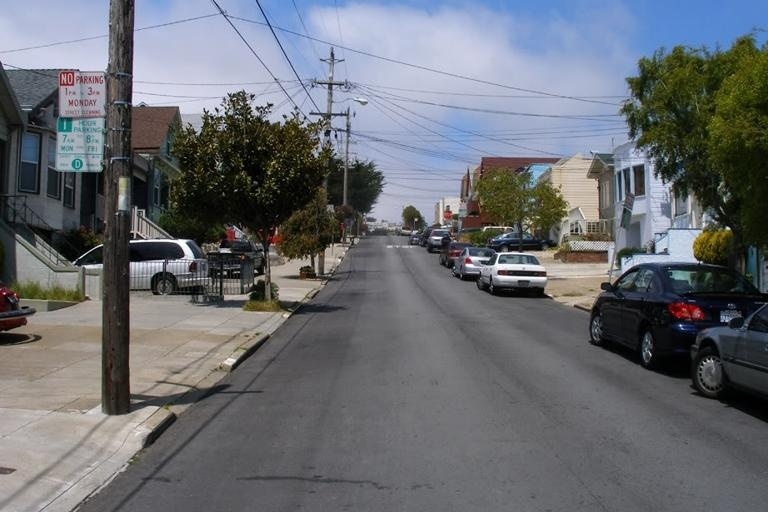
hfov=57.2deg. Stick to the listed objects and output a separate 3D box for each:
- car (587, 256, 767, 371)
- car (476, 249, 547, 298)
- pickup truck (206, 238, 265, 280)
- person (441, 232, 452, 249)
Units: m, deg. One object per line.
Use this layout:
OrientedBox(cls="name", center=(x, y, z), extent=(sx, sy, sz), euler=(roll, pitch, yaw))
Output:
OrientedBox(cls="car", center=(5.668, 1.085, 14.467), extent=(1.693, 1.470, 3.718), euler=(0, 3, -3))
OrientedBox(cls="car", center=(5.212, 0.676, 28.144), extent=(2.355, 1.766, 2.652), euler=(1, 7, 5))
OrientedBox(cls="pickup truck", center=(-6.611, 0.379, 30.760), extent=(2.010, 1.703, 4.446), euler=(0, 3, 2))
OrientedBox(cls="person", center=(4.582, -1.096, 51.835), extent=(0.768, 0.882, 1.429), euler=(0, -5, 4))
